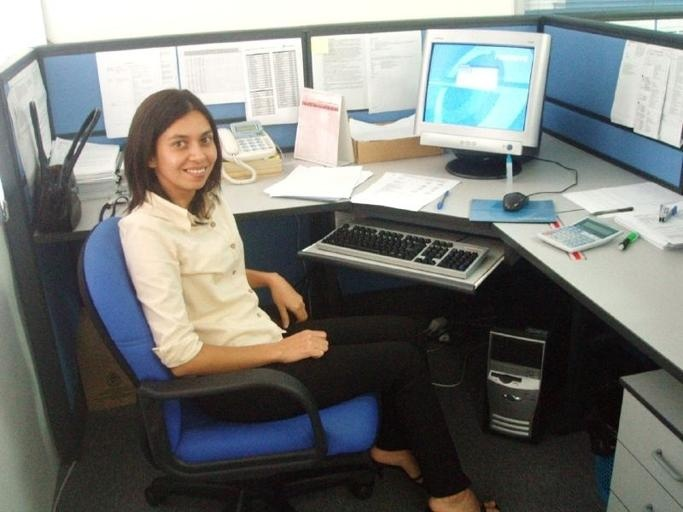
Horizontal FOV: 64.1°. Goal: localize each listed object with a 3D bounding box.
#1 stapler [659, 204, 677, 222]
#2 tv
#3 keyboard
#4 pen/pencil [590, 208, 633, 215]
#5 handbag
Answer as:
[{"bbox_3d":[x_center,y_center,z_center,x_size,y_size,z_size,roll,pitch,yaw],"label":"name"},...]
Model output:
[{"bbox_3d":[1.059,-0.144,1.760,0.044,0.030,0.075,5,51,21],"label":"stapler"},{"bbox_3d":[0.555,-0.626,2.239,0.492,0.551,0.310,7,23,13],"label":"tv"},{"bbox_3d":[0.243,-0.113,1.837,0.459,0.085,0.179,12,36,26],"label":"keyboard"},{"bbox_3d":[0.918,-0.151,1.846,0.103,0.015,0.015,-9,8,-13],"label":"pen/pencil"},{"bbox_3d":[-1.010,-0.288,1.911,0.287,0.475,0.189,3,11,-5],"label":"handbag"}]
